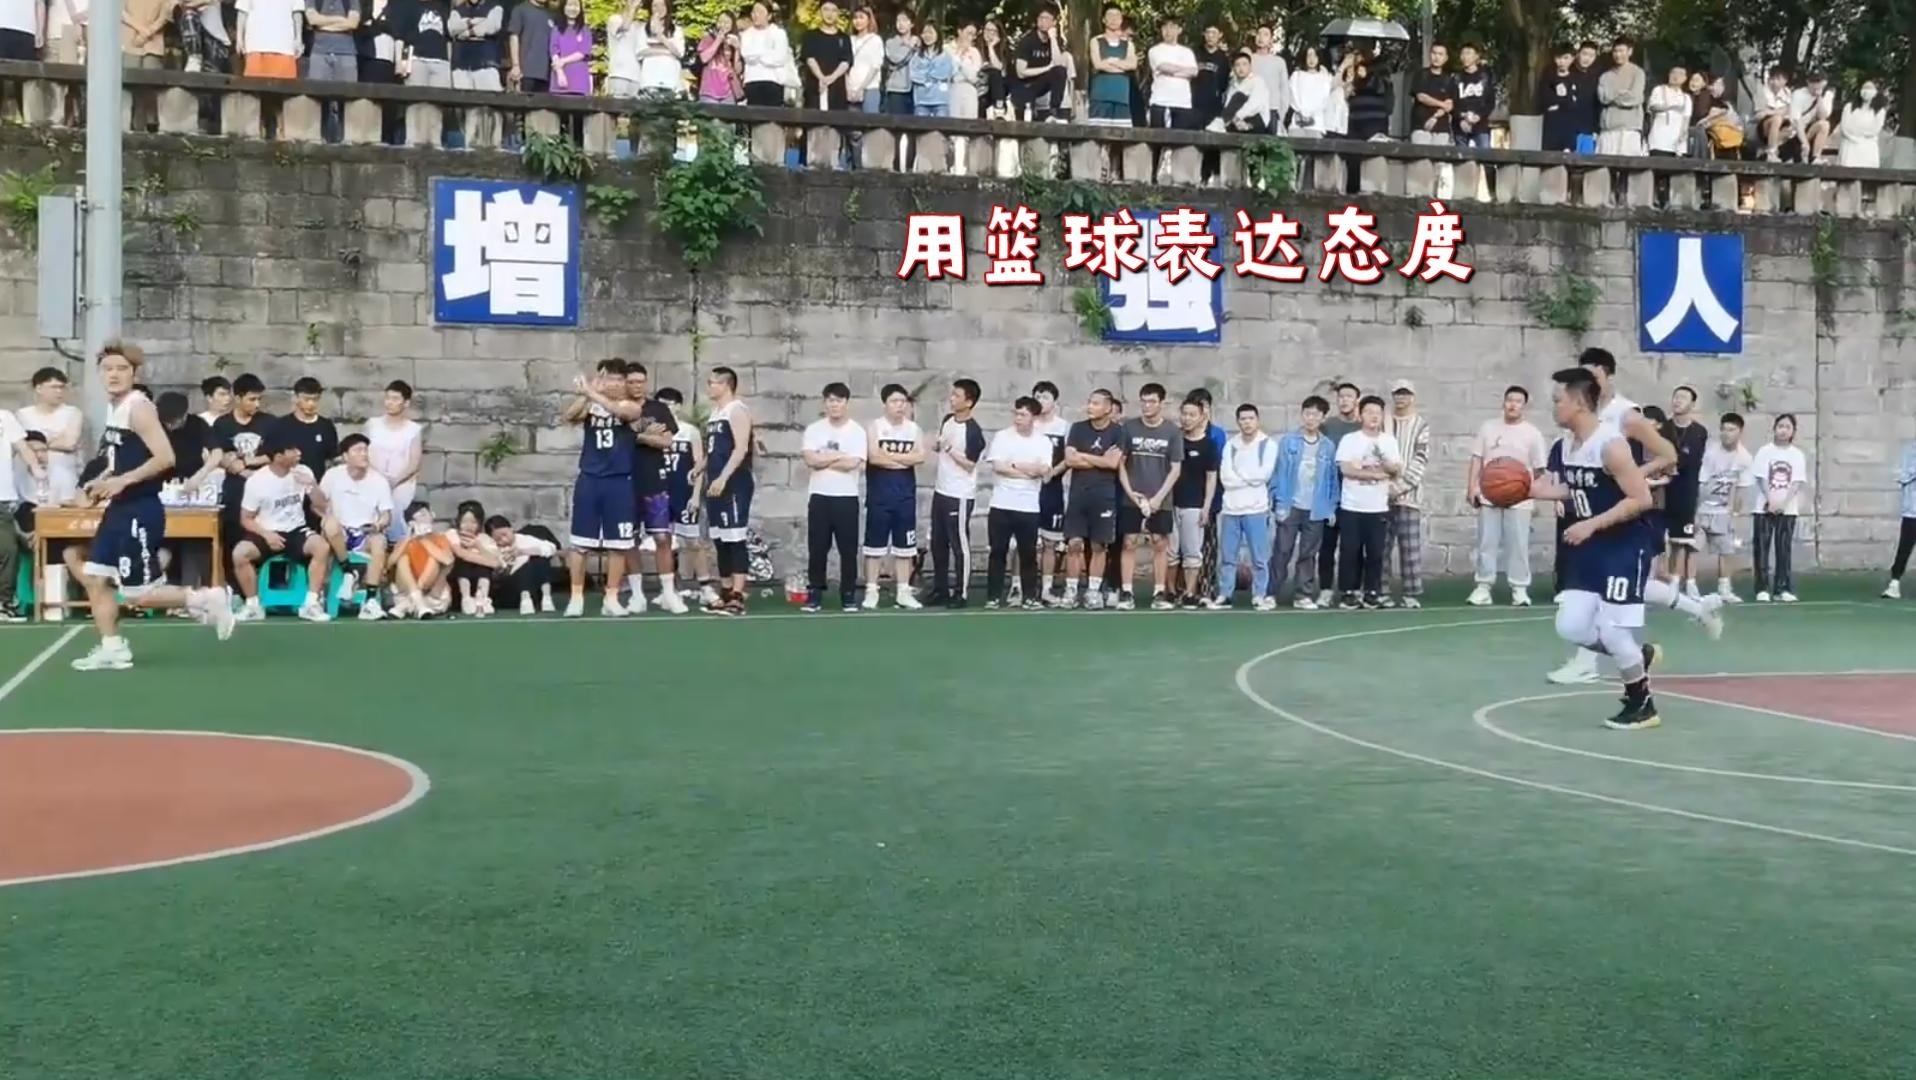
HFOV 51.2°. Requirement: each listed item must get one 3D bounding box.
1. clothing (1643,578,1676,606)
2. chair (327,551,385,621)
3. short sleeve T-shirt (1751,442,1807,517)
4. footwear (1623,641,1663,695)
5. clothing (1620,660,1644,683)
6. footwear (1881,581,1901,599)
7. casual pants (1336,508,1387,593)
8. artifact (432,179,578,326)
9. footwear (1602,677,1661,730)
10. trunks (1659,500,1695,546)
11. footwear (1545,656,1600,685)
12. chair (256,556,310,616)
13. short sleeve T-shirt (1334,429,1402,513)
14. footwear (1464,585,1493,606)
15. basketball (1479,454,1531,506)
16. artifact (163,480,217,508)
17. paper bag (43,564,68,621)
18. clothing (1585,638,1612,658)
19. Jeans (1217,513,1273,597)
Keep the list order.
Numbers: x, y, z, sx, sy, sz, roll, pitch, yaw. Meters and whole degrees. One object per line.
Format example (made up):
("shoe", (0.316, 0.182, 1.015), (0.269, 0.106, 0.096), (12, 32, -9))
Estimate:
("clothing", (6.653, 0.434, 18.978), (0.313, 0.151, 0.445), (3, -5, 7))
("chair", (-6.982, 0.543, 23.096), (0.666, 0.894, 0.907), (-1, 1, -9))
("short sleeve T-shirt", (10.876, -0.814, 26.471), (0.928, 1.252, 0.664), (2, -7, 23))
("footwear", (6.363, 1.183, 18.547), (0.164, 0.537, 0.212), (20, 41, 37))
("clothing", (6.129, 1.171, 18.102), (0.202, 0.152, 0.206), (-2, -6, -6))
("footwear", (12.444, 0.635, 26.643), (0.206, 0.246, 0.519), (1, 3, 25))
("casual pants", (5.051, 0.150, 24.878), (0.472, 1.058, 0.584), (2, 3, 38))
("artifact", (-5.848, -3.660, 25.755), (1.828, 1.779, 0.441), (-2, 5, -14))
("footwear", (6.090, 1.449, 18.058), (0.455, 0.460, 0.300), (0, 3, 18))
("trunks", (8.798, -0.251, 24.387), (0.416, 0.436, 0.778), (-7, 6, 8))
("footwear", (6.154, 1.274, 19.917), (0.542, 0.385, 0.269), (-2, -1, 0))
("chair", (-7.828, 0.518, 23.141), (0.598, 0.879, 0.638), (0, 3, -16))
("short sleeve T-shirt", (5.054, -0.875, 24.760), (0.993, 1.244, 0.621), (0, -3, 2))
("footwear", (6.778, 0.723, 25.939), (0.195, 0.256, 0.599), (-2, -9, 27))
("basketball", (5.211, -0.476, 18.968), (0.498, 0.393, 0.506), (-3, 19, 25))
("artifact", (-8.798, -0.509, 22.798), (0.480, 0.224, 0.342), (0, 3, -2))
("paper bag", (-10.179, 0.558, 22.459), (0.259, 0.586, 0.231), (-2, 3, -26))
("clothing", (5.971, 0.996, 18.554), (0.251, 0.183, 0.250), (0, 6, -23))
("Jeans", (3.652, 0.190, 25.399), (0.647, 1.117, 1.003), (0, 3, 12))
